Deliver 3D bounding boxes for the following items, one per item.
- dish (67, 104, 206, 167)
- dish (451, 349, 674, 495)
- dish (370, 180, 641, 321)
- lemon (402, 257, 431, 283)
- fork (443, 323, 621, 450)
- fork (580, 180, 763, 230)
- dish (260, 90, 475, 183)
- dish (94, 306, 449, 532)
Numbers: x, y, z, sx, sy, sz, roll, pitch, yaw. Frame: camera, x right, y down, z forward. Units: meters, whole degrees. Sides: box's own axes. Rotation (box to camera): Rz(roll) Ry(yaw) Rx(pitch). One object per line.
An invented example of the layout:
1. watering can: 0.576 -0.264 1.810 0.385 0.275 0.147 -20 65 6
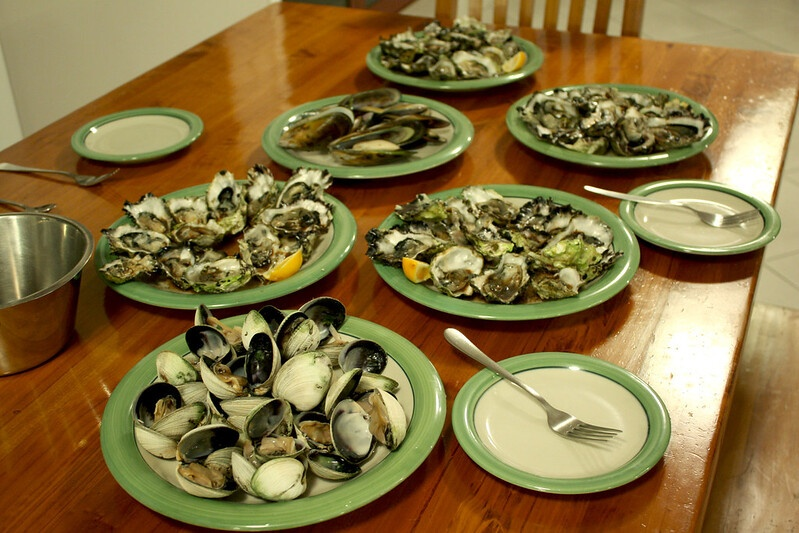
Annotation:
1. dish: -0.654 -0.337 1.528 0.213 0.037 0.209 -7 36 -10
2. dish: 0.232 0.221 0.881 0.292 0.031 0.237 16 49 20
3. dish: 0.190 0.020 1.066 0.330 0.054 0.332 17 38 24
4. lemon: 0.030 0.008 1.075 0.046 0.028 0.044 11 64 -30
5. fork: 0.201 0.190 0.928 0.041 0.034 0.237 -33 52 -28
6. fork: 0.559 -0.123 1.232 0.349 0.054 0.047 9 46 25
7. dish: -0.011 -0.279 1.410 0.332 0.046 0.327 -27 42 -35
8. dish: -0.185 0.199 0.875 0.500 0.085 0.330 -4 45 1
